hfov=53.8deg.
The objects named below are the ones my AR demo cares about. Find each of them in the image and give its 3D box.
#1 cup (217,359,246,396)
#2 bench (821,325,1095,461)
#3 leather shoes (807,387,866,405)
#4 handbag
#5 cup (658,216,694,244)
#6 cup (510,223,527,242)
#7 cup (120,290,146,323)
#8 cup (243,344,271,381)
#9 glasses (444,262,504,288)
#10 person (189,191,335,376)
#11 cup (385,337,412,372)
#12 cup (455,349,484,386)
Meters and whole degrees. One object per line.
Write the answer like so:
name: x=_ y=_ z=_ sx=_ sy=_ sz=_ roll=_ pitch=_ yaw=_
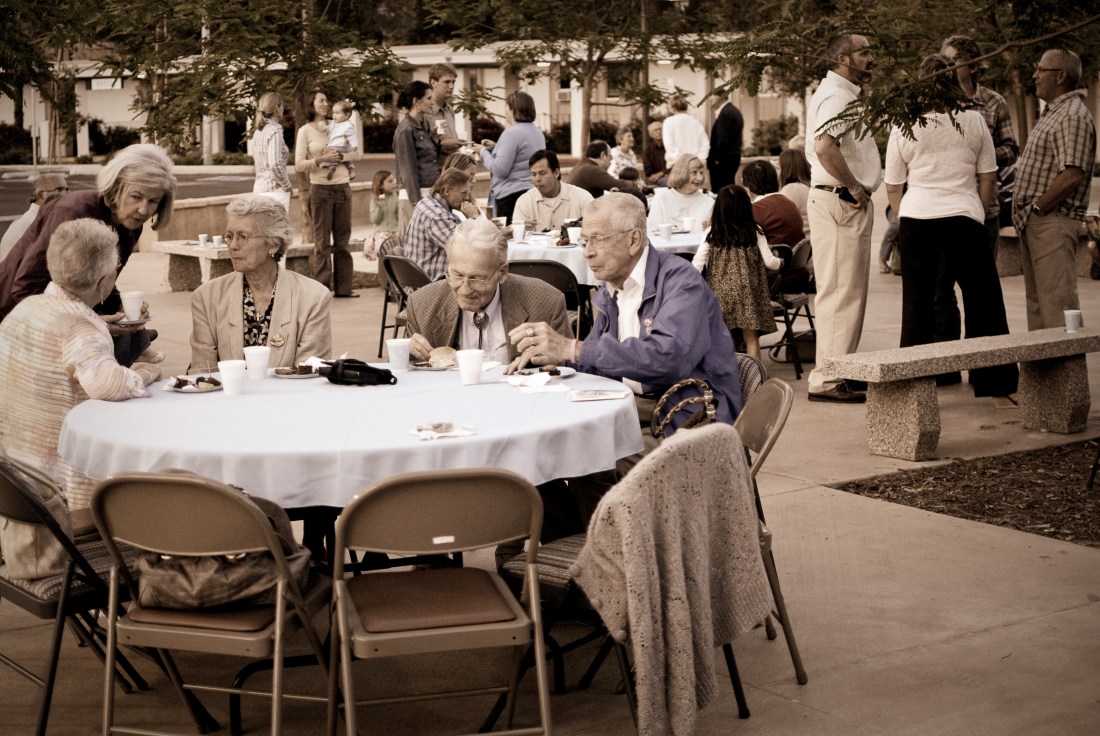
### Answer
cup: x=-1.408 y=0.046 z=4.854 sx=0.137 sy=0.153 sz=0.142 roll=1 pitch=6 yaw=0
bench: x=2.933 y=0.186 z=7.611 sx=2.040 sy=0.738 sz=0.446 roll=-6 pitch=8 yaw=-22
leather shoes: x=2.311 y=0.218 z=8.828 sx=0.477 sy=0.195 sz=0.165 roll=-1 pitch=5 yaw=8
handbag: x=-1.221 y=0.618 z=3.958 sx=0.635 sy=0.535 sz=0.428 roll=-5 pitch=7 yaw=-14
cup: x=1.185 y=-1.306 z=10.282 sx=0.277 sy=0.147 sz=0.351 roll=-4 pitch=12 yaw=-14
cup: x=-0.299 y=-1.259 z=9.992 sx=0.155 sy=0.177 sz=0.153 roll=0 pitch=18 yaw=0
cup: x=-1.996 y=-0.302 z=5.203 sx=0.128 sy=0.145 sz=0.130 roll=1 pitch=2 yaw=0
cup: x=-1.384 y=-0.025 z=5.136 sx=0.144 sy=0.162 sz=0.149 roll=0 pitch=8 yaw=0
glasses: x=-0.377 y=-0.457 z=5.465 sx=0.289 sy=0.114 sz=0.201 roll=-3 pitch=7 yaw=-3
person: x=-1.535 y=-0.418 z=5.785 sx=0.775 sy=1.039 sz=0.583 roll=6 pitch=16 yaw=10
cup: x=-0.752 y=-0.055 z=5.277 sx=0.143 sy=0.153 sz=0.142 roll=-1 pitch=3 yaw=0
cup: x=-0.367 y=0.000 z=5.042 sx=0.141 sy=0.155 sz=0.140 roll=-2 pitch=6 yaw=0
